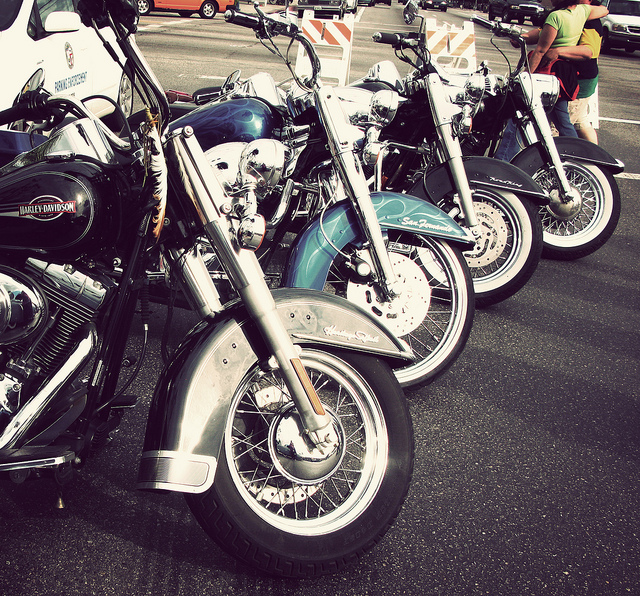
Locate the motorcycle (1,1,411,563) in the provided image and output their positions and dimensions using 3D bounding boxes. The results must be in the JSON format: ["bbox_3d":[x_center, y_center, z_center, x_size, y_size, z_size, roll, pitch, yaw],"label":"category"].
[{"bbox_3d":[-0.326,0.041,2.409,1.891,1.596,1.143,6,14,15],"label":"motorcycle"}]

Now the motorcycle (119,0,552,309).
[{"bbox_3d":[0.211,-0.995,4.332,2.582,2.168,1.567,-1,16,8],"label":"motorcycle"}]

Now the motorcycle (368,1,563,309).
[{"bbox_3d":[1.140,-1.188,4.844,2.313,1.319,1.786,8,71,13],"label":"motorcycle"}]
